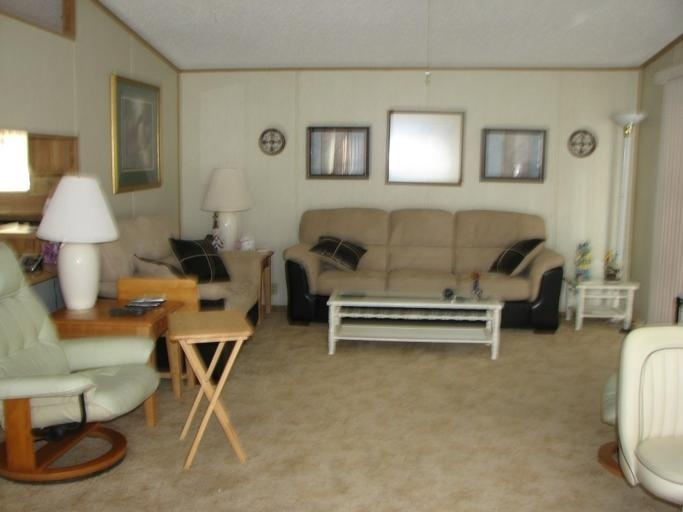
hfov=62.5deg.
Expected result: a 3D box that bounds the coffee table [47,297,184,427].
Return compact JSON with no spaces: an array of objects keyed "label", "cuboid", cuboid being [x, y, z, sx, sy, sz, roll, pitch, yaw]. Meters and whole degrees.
[{"label":"coffee table","cuboid":[-1.547,0.671,4.041,0.827,0.786,0.832,0,10,-4]}]

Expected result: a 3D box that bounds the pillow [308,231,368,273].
[{"label":"pillow","cuboid":[-0.022,-0.014,6.038,0.637,0.300,0.362,-1,13,-6]}]

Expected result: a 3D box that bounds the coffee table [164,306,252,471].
[{"label":"coffee table","cuboid":[-0.848,0.760,3.621,0.475,0.834,0.977,-4,13,-17]}]

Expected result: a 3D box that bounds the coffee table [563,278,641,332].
[{"label":"coffee table","cuboid":[2.785,0.484,6.096,0.601,0.450,0.606,1,2,15]}]

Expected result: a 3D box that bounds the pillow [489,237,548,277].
[{"label":"pillow","cuboid":[1.881,0.017,5.884,0.556,0.350,0.337,-2,13,-13]}]
